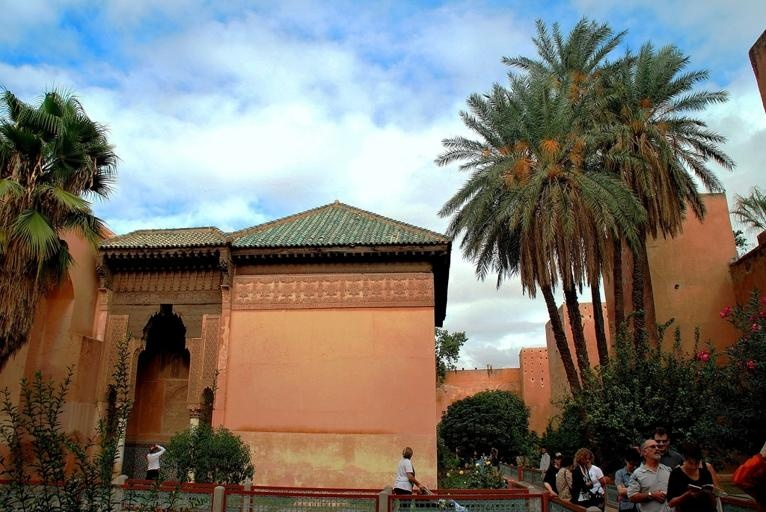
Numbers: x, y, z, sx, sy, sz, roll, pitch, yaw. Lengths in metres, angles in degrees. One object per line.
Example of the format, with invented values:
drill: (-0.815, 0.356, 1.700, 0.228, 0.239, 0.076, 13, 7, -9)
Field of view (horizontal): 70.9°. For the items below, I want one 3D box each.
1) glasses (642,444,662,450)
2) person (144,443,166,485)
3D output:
glasses: (4.081, 2.876, 8.110, 0.333, 0.089, 0.181, 7, -20, -21)
person: (-6.575, 6.144, 15.479, 0.650, 1.430, 0.383, 1, 0, 21)
